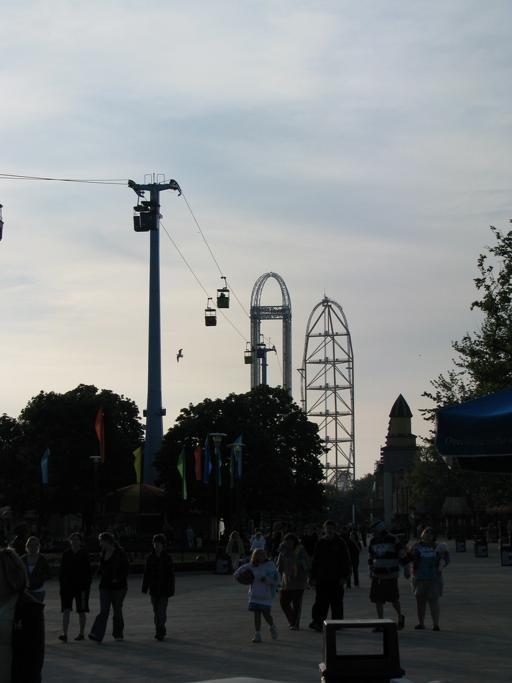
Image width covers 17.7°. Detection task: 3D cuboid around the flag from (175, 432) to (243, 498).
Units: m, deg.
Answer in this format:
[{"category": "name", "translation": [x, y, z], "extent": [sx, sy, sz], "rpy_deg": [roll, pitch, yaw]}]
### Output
[{"category": "flag", "translation": [-1.725, 4.940, 64.485], "extent": [3.119, 3.151, 2.601], "rpy_deg": [0, -4, -4]}]
